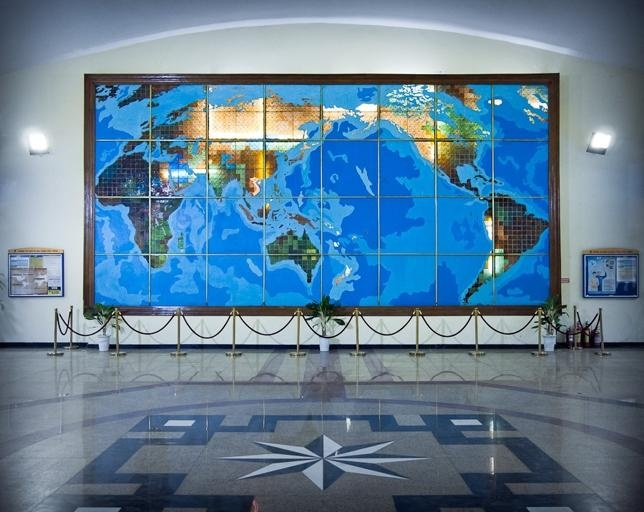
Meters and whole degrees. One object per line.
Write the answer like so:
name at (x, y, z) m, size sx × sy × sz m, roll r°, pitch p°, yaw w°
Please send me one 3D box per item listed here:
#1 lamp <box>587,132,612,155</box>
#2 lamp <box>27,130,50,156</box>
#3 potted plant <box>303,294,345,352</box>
lamp at (6.732, -2.746, 13.995) m, size 0.608 × 0.574 × 0.325 m, roll 0°, pitch 3°, yaw 6°
lamp at (-6.817, -2.682, 13.852) m, size 0.510 × 0.517 × 0.123 m, roll 1°, pitch 4°, yaw -13°
potted plant at (0.045, 1.579, 13.570) m, size 0.962 × 1.251 × 0.598 m, roll 0°, pitch 3°, yaw -1°
